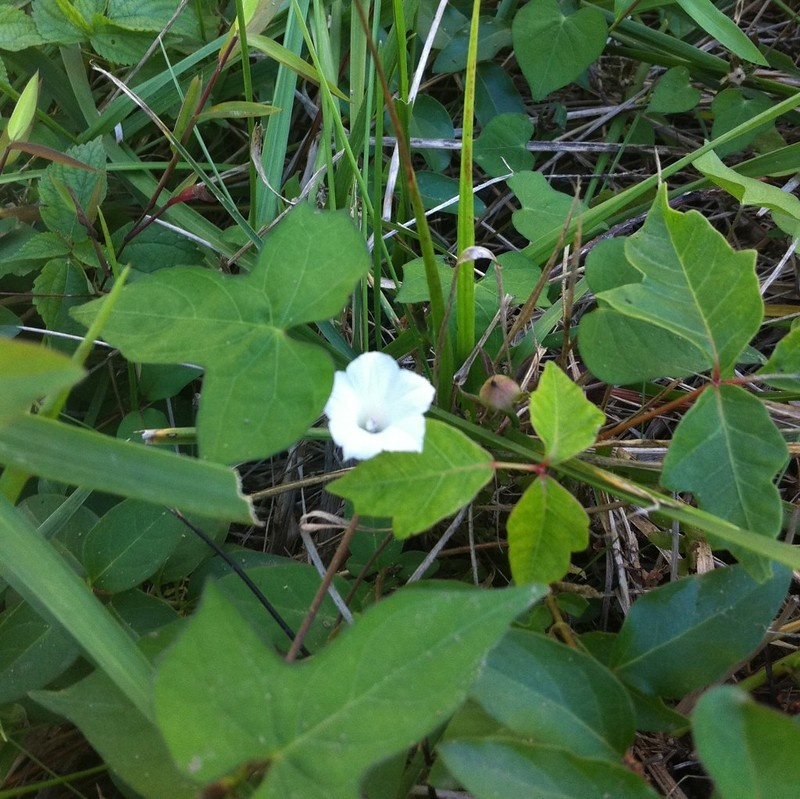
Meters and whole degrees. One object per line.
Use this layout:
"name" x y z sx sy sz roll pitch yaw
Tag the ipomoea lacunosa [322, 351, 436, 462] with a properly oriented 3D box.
"ipomoea lacunosa" -0.028 0.012 1.117 0.194 0.103 0.148 13 76 -10
